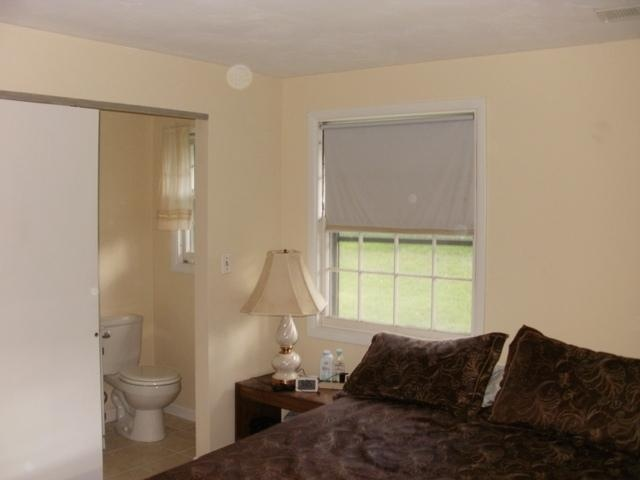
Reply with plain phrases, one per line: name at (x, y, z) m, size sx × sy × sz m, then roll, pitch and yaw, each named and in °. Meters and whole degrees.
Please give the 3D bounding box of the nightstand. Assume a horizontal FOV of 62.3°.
nightstand at (-0.188, 1.351, 3.896) m, size 0.815 × 0.541 × 0.491 m, roll 3°, pitch 1°, yaw 32°

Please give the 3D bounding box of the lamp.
lamp at (-0.255, 0.576, 3.922) m, size 0.728 × 0.923 × 0.683 m, roll 3°, pitch -4°, yaw -40°
